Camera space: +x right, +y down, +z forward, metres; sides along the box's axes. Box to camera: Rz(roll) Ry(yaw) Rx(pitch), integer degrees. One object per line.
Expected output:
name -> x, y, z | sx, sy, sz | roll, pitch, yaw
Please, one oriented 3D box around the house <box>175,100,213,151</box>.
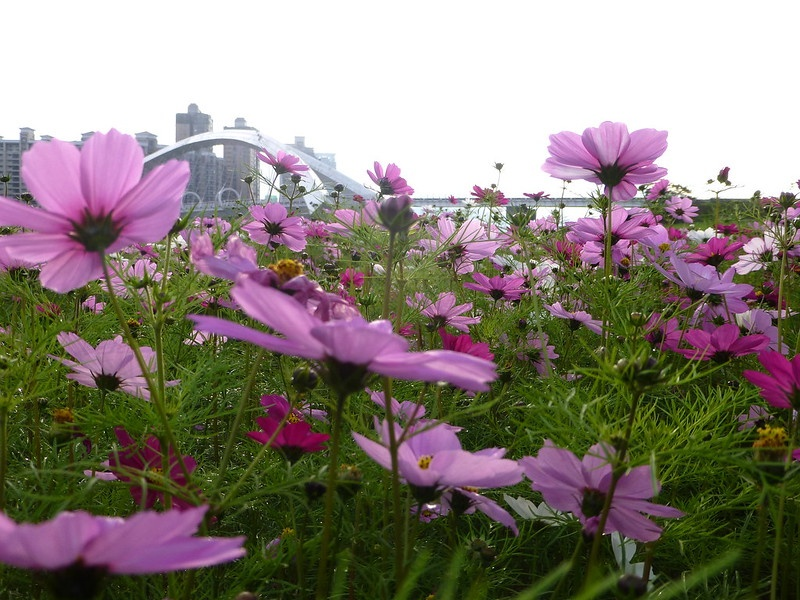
house -> -11.915, -9.979, 37.175 | 1.815, 2.730, 1.406 | -1, 1, -2
